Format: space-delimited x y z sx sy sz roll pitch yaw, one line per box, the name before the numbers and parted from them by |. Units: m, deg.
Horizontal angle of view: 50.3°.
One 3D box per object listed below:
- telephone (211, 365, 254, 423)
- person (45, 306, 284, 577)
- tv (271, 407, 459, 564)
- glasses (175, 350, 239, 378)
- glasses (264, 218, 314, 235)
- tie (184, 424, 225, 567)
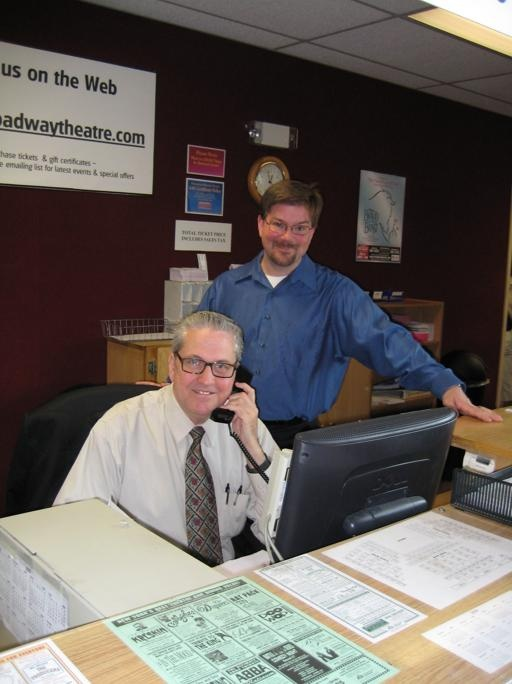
telephone | -0.104 0.158 1.684 0.047 0.147 0.160 10 -2 27
person | -0.221 0.289 1.625 0.608 0.766 0.397 7 6 -4
tv | 0.223 0.265 1.051 0.450 0.253 0.084 2 8 -40
glasses | -0.151 0.070 1.609 0.181 0.059 0.073 6 6 -8
glasses | 0.135 -0.484 2.293 0.187 0.056 0.054 7 6 -1
tie | -0.163 0.451 1.612 0.108 0.376 0.155 3 8 -35
